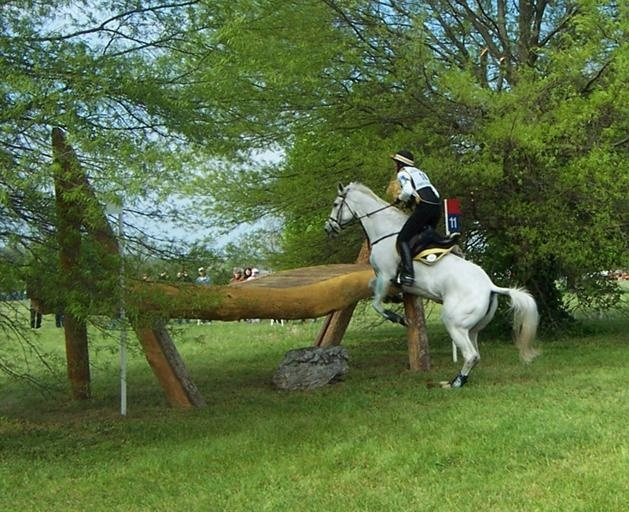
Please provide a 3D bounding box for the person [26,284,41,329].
[{"bbox_3d":[-3.707,0.662,8.395,0.179,0.424,1.686,-11,7,-24],"label":"person"}]

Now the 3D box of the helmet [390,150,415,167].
[{"bbox_3d":[1.417,-1.632,10.401,0.339,0.141,0.340,6,14,-27],"label":"helmet"}]

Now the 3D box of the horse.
[{"bbox_3d":[1.769,0.352,10.148,1.287,3.276,2.875,-13,9,-38],"label":"horse"}]
